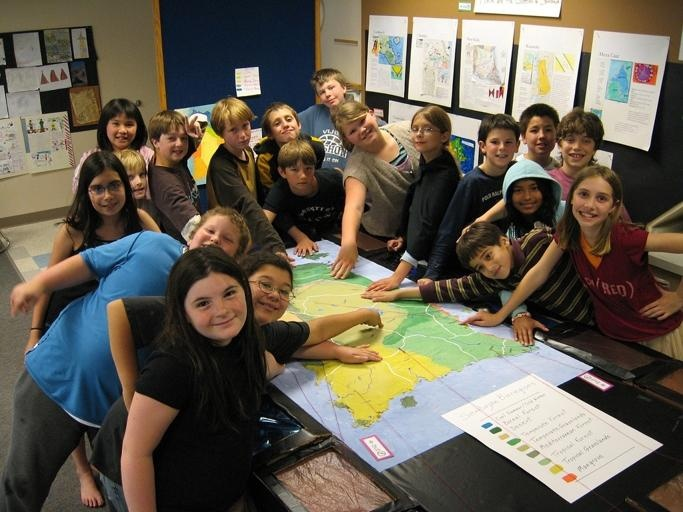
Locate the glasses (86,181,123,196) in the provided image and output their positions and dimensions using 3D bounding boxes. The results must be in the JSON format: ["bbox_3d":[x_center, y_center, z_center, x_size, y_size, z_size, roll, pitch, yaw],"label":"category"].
[{"bbox_3d":[-0.997,-0.288,1.861,0.079,0.023,0.078,-15,-3,-41],"label":"glasses"}]
